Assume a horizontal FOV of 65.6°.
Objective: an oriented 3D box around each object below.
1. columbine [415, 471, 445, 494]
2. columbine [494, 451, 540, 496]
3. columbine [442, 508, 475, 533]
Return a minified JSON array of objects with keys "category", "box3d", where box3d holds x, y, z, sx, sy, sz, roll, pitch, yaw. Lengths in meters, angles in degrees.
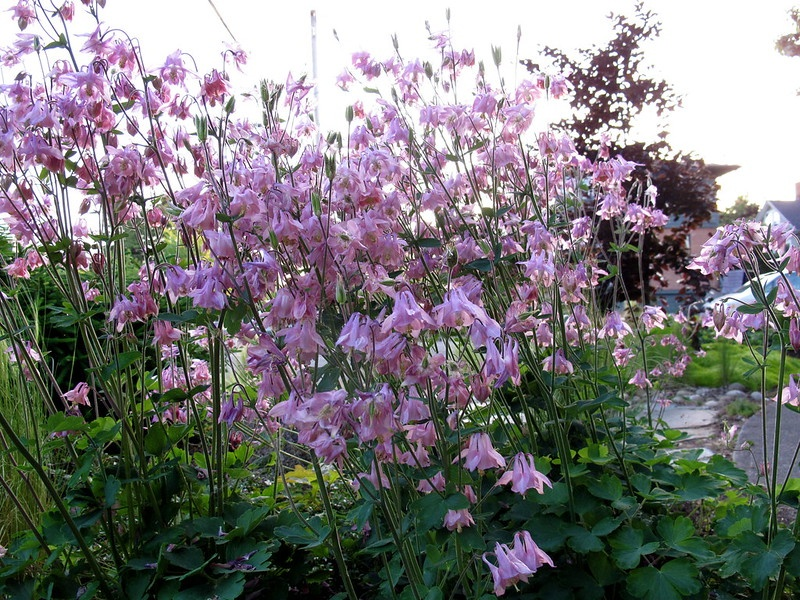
[{"category":"columbine","box3d":[0.110,0.642,2.181,0.083,0.087,0.078,35,-58,-27]},{"category":"columbine","box3d":[0.407,0.581,2.133,0.146,0.114,0.153,-13,-13,31]},{"category":"columbine","box3d":[0.192,0.731,2.097,0.089,0.090,0.091,15,-40,-37]}]
